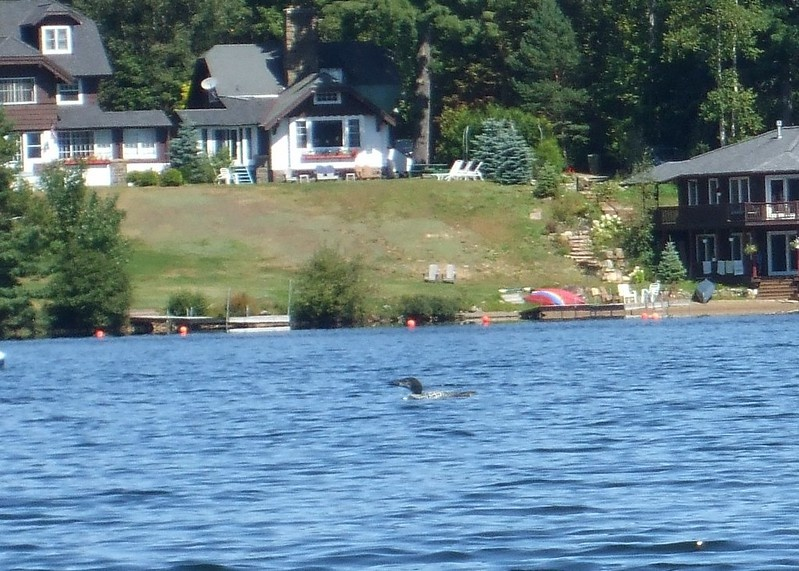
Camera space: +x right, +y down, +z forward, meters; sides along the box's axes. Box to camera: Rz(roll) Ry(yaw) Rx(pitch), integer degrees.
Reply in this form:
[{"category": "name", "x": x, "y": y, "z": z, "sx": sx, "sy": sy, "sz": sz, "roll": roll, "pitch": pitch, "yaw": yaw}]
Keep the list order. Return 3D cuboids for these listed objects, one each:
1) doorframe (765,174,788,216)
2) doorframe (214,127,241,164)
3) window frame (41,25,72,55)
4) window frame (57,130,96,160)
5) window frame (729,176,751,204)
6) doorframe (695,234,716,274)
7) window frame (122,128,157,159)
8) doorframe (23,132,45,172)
[{"category": "doorframe", "x": 24.799, "y": -6.104, "z": 147.870, "sx": 1.340, "sy": 2.365, "sz": 2.024, "roll": 1, "pitch": 14, "yaw": 9}, {"category": "doorframe", "x": -13.114, "y": -10.778, "z": 168.905, "sx": 2.797, "sy": 3.625, "sz": 0.245, "roll": -3, "pitch": 3, "yaw": -33}, {"category": "window frame", "x": -26.190, "y": -18.852, "z": 169.951, "sx": 2.627, "sy": 2.441, "sz": 0.274, "roll": 1, "pitch": 5, "yaw": -10}, {"category": "window frame", "x": -24.347, "y": -10.668, "z": 167.500, "sx": 2.944, "sy": 2.508, "sz": 0.319, "roll": -2, "pitch": 1, "yaw": -28}, {"category": "window frame", "x": 22.711, "y": -6.616, "z": 149.629, "sx": 0.317, "sy": 2.470, "sz": 1.899, "roll": 0, "pitch": -1, "yaw": -44}, {"category": "doorframe", "x": 20.539, "y": -2.312, "z": 150.811, "sx": 1.192, "sy": 2.454, "sz": 2.348, "roll": -2, "pitch": 14, "yaw": -2}, {"category": "window frame", "x": -19.879, "y": -11.025, "z": 169.774, "sx": 2.321, "sy": 2.151, "sz": 0.178, "roll": -2, "pitch": 4, "yaw": -25}, {"category": "doorframe", "x": -27.132, "y": -10.220, "z": 165.728, "sx": 1.497, "sy": 2.582, "sz": 1.970, "roll": 2, "pitch": 14, "yaw": 16}]
